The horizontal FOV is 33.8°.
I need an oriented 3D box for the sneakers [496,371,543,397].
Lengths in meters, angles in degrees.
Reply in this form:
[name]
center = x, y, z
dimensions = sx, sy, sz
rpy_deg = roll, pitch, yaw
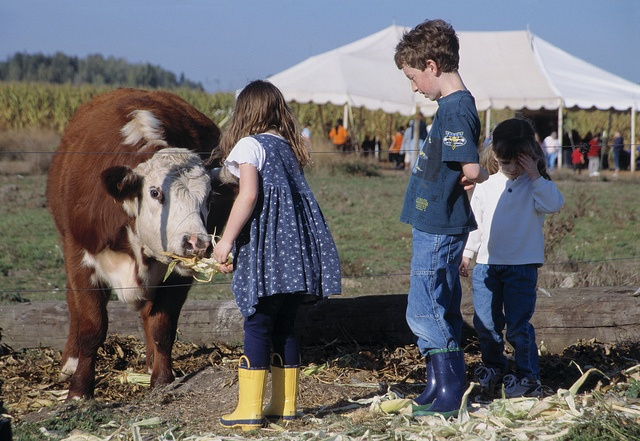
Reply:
[sneakers]
center = 2.383, 1.953, 12.368
dimensions = 0.445, 0.171, 0.111
rpy_deg = -2, 1, 8
